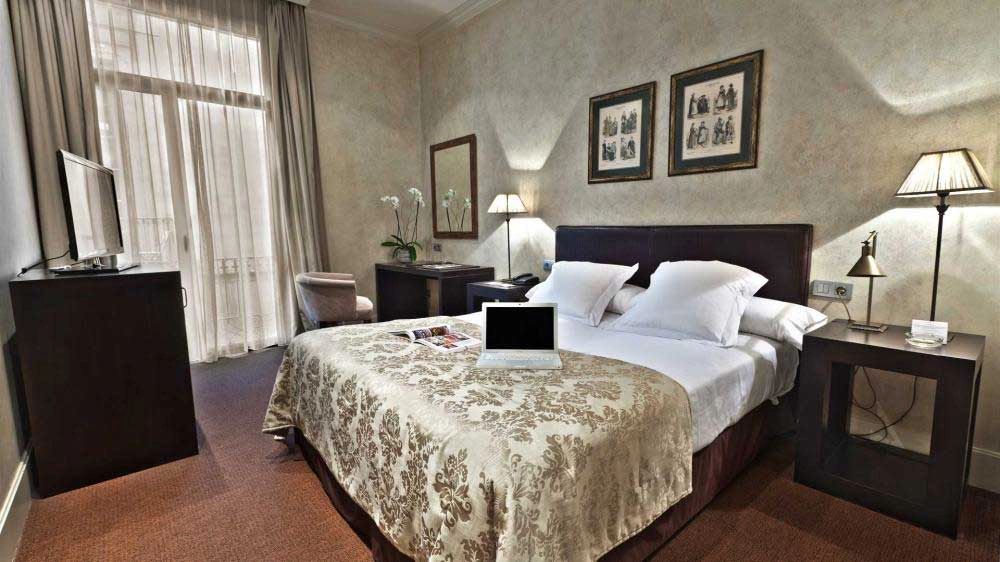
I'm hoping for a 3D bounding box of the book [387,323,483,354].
[{"bbox_3d":[-0.505,0.455,4.681,0.507,0.129,0.605,-5,7,-37],"label":"book"}]

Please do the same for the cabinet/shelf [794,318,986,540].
[{"bbox_3d":[2.887,1.066,4.431,1.077,1.423,0.672,5,10,35],"label":"cabinet/shelf"}]

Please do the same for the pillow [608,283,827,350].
[{"bbox_3d":[1.777,0.295,5.008,1.744,0.426,0.478,3,8,30],"label":"pillow"}]

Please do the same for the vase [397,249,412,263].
[{"bbox_3d":[-1.191,-0.305,7.241,0.172,0.157,0.166,-2,9,-15],"label":"vase"}]

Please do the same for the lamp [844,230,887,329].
[{"bbox_3d":[2.873,-0.005,4.577,0.274,0.766,0.388,4,9,30],"label":"lamp"}]

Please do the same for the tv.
[{"bbox_3d":[-3.399,-0.545,4.790,0.495,0.914,0.875,-6,9,-35],"label":"tv"}]

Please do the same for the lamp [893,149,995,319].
[{"bbox_3d":[3.309,-0.349,4.419,0.595,1.266,0.354,4,10,30],"label":"lamp"}]

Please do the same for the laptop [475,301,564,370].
[{"bbox_3d":[0.159,0.435,4.514,0.651,0.381,0.475,1,4,2],"label":"laptop"}]

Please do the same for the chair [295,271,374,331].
[{"bbox_3d":[-1.726,0.233,6.297,0.762,0.659,0.623,-4,11,-29],"label":"chair"}]
